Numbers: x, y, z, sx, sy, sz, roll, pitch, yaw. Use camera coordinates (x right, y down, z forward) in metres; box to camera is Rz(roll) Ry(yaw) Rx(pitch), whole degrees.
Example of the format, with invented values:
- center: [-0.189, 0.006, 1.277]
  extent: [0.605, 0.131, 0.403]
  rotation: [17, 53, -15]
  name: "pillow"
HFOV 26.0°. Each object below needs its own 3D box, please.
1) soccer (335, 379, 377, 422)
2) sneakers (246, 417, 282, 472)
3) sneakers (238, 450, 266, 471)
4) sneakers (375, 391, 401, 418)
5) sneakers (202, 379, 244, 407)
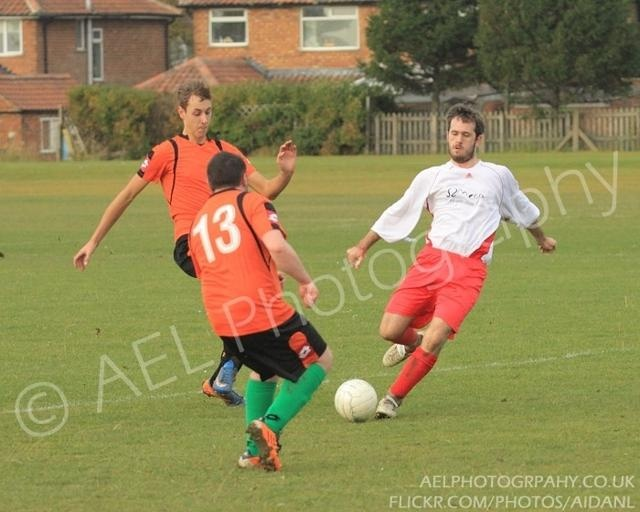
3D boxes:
- center: [0.360, 1.398, 13.502]
  extent: [0.395, 0.386, 0.401]
  rotation: [-4, -10, 38]
  name: "soccer"
- center: [-0.488, 1.680, 12.509]
  extent: [0.194, 0.558, 0.261]
  rotation: [-32, 12, -14]
  name: "sneakers"
- center: [-0.624, 1.859, 12.639]
  extent: [0.214, 0.155, 0.131]
  rotation: [-3, 11, -34]
  name: "sneakers"
- center: [0.669, 1.478, 13.568]
  extent: [0.136, 0.149, 0.335]
  rotation: [-5, -8, 15]
  name: "sneakers"
- center: [-0.958, 1.347, 13.702]
  extent: [0.417, 0.165, 0.220]
  rotation: [23, -13, -4]
  name: "sneakers"
